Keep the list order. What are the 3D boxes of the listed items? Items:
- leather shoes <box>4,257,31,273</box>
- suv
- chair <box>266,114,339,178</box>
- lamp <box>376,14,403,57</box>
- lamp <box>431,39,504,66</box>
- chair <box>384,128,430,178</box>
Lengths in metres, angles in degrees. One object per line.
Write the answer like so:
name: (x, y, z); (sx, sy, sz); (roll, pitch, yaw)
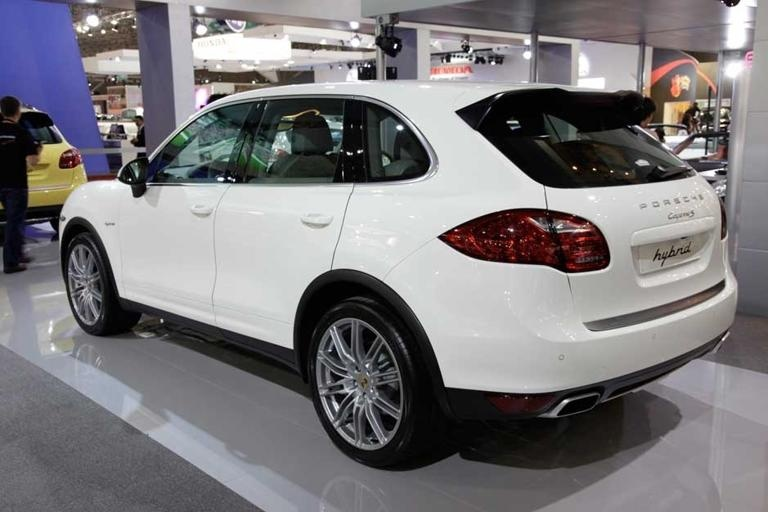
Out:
leather shoes: (-5.250, 0.130, 6.598); (0.123, 0.162, 0.382); (9, 17, 38)
suv: (-0.542, -0.096, 3.292); (4.424, 1.619, 2.073); (13, 15, 41)
chair: (-0.455, -0.783, 2.982); (0.623, 0.223, 0.457); (1, 20, -11)
lamp: (0.072, -3.857, 8.027); (0.422, 0.549, 0.735); (0, 14, 2)
lamp: (4.400, -10.399, 23.956); (3.659, 0.830, 1.593); (7, 16, 27)
chair: (0.116, -0.509, 2.435); (0.281, 0.234, 0.323); (1, 5, -12)
